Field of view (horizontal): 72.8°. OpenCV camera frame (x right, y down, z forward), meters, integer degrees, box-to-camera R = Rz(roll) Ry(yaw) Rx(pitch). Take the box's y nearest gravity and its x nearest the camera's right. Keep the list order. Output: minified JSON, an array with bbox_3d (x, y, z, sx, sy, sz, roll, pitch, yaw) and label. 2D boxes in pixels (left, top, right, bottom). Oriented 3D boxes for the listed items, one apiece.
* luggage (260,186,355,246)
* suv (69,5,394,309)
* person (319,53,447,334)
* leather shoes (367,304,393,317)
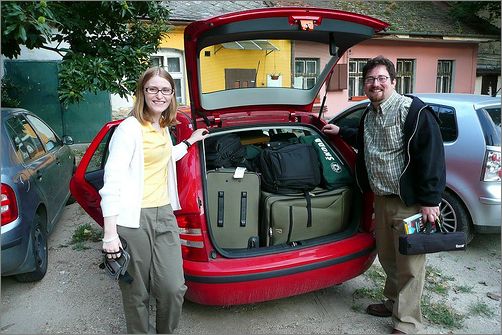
[{"bbox_3d":[0.549,0.490,3.366,0.721,0.494,0.547,-2,3,-25],"label":"luggage"},{"bbox_3d":[-0.074,-0.280,4.158,2.722,1.966,3.090,-6,21,-16],"label":"suv"},{"bbox_3d":[1.385,0.232,3.234,0.526,2.523,0.770,-5,12,-16],"label":"person"},{"bbox_3d":[1.274,1.414,3.366,0.230,0.094,0.099,4,7,11],"label":"leather shoes"}]
